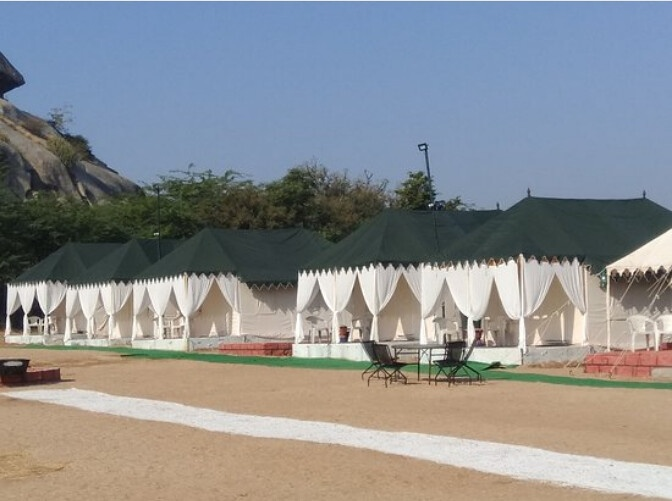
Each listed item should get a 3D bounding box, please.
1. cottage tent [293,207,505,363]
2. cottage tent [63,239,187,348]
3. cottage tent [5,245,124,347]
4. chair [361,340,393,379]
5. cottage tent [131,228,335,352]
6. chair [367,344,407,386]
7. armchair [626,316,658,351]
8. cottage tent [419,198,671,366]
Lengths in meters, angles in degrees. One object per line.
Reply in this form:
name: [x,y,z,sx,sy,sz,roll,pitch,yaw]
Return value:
cottage tent: [2.130,0.214,39.544,5.004,3.570,5.050,3,-6,-26]
cottage tent: [-8.557,1.749,48.443,4.102,3.579,4.060,0,-1,-44]
cottage tent: [-12.343,1.884,53.560,4.792,3.999,4.730,1,-2,-44]
chair: [1.088,2.934,31.208,0.813,1.153,0.811,1,6,-2]
cottage tent: [-3.716,1.633,44.067,5.460,3.422,5.439,3,-5,-30]
chair: [1.297,2.919,30.772,0.850,1.035,0.844,7,13,26]
armchair: [8.253,2.245,31.972,0.859,0.980,0.791,2,-7,-39]
cottage tent: [6.103,-0.273,36.943,6.179,3.213,5.991,-1,3,-34]
